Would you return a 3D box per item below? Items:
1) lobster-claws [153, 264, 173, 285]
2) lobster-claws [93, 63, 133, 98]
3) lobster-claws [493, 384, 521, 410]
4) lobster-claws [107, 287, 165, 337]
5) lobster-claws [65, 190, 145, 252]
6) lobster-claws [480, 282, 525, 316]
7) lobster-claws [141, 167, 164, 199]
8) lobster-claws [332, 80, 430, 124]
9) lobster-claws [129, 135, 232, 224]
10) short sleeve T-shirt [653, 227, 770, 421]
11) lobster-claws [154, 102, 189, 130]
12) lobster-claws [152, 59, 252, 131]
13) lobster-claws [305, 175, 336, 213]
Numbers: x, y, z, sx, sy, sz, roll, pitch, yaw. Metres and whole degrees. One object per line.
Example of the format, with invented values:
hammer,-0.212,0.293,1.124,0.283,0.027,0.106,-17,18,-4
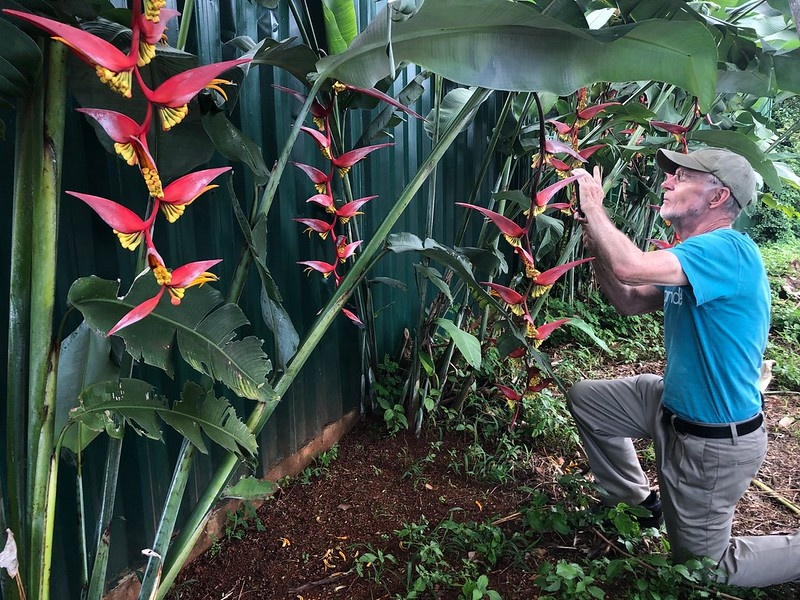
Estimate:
lobster-claws,-0.628,-0.070,1.870,0.042,0.055,0.025,14,44,18
lobster-claws,-0.710,-0.549,1.771,0.075,0.072,0.049,-7,23,-21
lobster-claws,0.499,0.462,3.480,0.155,0.042,0.112,50,5,10
lobster-claws,-0.696,0.030,1.894,0.019,0.038,0.189,19,51,34
lobster-claws,-0.749,-0.209,1.877,0.276,0.100,0.071,9,-15,-34
lobster-claws,0.419,-0.027,3.018,0.041,0.090,0.240,-43,41,-17
lobster-claws,-0.650,-0.306,1.842,0.066,0.066,0.030,3,19,32
lobster-claws,-0.061,-0.764,2.669,0.403,0.067,0.141,15,-19,-37
lobster-claws,-0.626,-0.330,1.960,0.222,0.218,0.076,43,-1,-28
short sleeve T-shirt,1.309,0.106,2.919,0.460,0.790,0.329,10,24,21
lobster-claws,-0.596,-0.494,1.886,0.086,0.065,0.033,37,27,11
lobster-claws,-0.530,-0.540,1.845,0.231,0.168,0.057,-3,22,-12
lobster-claws,-0.316,-0.438,2.923,0.054,0.077,0.208,24,23,-21
